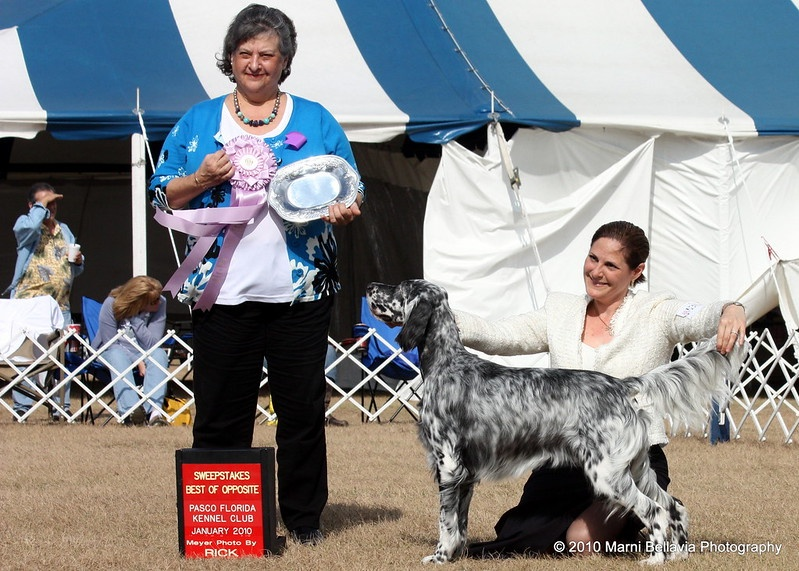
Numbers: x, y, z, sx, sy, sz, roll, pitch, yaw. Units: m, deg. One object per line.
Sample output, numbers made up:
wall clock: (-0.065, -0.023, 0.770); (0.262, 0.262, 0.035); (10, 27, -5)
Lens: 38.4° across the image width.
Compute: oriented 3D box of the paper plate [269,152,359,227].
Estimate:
paper plate: (-0.552, -0.625, 7.576); (0.612, 0.455, 0.178); (0, -6, -5)

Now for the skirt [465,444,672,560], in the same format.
skirt: (1.247, 1.516, 7.922); (1.262, 0.768, 1.292); (5, 10, 21)

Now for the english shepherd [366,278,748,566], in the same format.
english shepherd: (0.934, 0.864, 7.379); (2.203, 1.798, 0.314); (0, -5, -5)
